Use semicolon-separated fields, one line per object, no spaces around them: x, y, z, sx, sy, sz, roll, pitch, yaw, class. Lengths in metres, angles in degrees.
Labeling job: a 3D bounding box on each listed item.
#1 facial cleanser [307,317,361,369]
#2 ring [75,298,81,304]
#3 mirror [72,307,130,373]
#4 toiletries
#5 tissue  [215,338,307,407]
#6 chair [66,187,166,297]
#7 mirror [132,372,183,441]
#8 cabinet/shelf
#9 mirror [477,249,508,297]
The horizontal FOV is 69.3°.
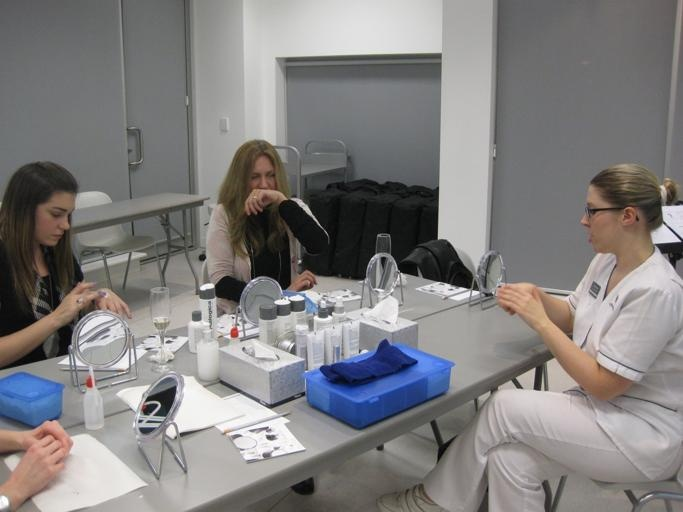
-0.021;0.315;1.826;0.149;0.195;0.131;17;15;24;facial cleanser
-0.997;0.171;1.883;0.015;0.022;0.006;-2;-3;5;ring
-0.809;0.278;1.666;0.187;0.201;0.036;-15;10;-42;mirror
-0.350;0.295;1.867;0.616;0.231;0.466;7;10;43;toiletries
-0.280;0.385;1.734;0.293;0.179;0.158;10;13;41;tissue 
-2.163;-0.214;4.796;0.664;1.246;0.777;15;21;30;chair
-0.502;0.419;1.362;0.160;0.016;0.195;20;70;42;mirror
-0.518;-0.647;6.011;0.764;1.512;0.928;11;15;27;cabinet/shelf
0.826;0.096;2.683;0.250;0.332;0.039;-21;22;-36;mirror
